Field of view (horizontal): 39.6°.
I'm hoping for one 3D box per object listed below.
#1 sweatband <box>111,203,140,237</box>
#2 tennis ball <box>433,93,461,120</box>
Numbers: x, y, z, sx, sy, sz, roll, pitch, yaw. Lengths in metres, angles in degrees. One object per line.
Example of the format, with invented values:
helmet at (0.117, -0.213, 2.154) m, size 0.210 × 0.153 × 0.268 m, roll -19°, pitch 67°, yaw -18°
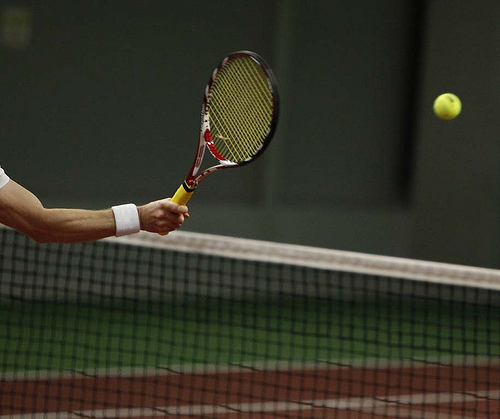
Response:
sweatband at (-0.573, 0.061, 3.195) m, size 0.130 × 0.160 × 0.113 m, roll -11°, pitch -21°, yaw -16°
tennis ball at (1.128, -0.591, 3.976) m, size 0.141 × 0.157 × 0.179 m, roll -3°, pitch -88°, yaw -23°
